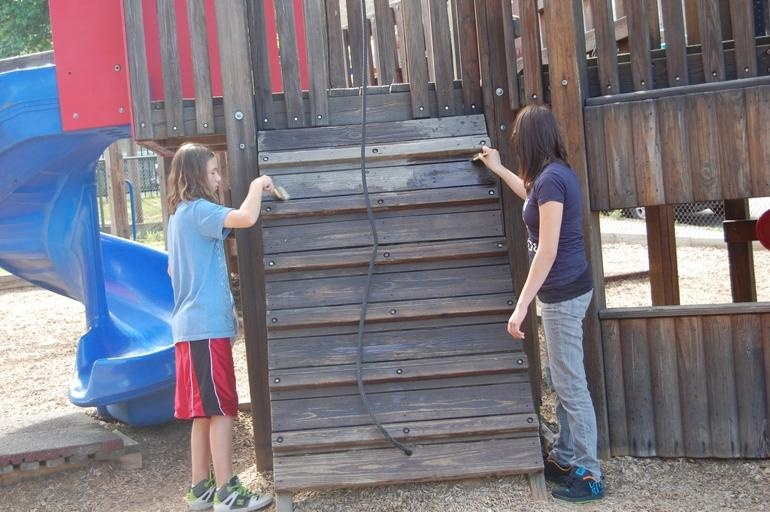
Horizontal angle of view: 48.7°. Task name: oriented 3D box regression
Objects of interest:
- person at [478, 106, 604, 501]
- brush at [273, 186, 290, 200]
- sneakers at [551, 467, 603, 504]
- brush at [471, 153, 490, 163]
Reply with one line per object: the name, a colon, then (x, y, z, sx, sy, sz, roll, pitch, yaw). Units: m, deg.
person: (1.032, 0.290, 5.384, 0.536, 2.424, 0.758, -3, 13, 13)
brush: (-0.682, -0.413, 5.604, 0.107, 0.098, 0.083, -9, 13, -13)
sneakers: (1.202, 1.459, 5.377, 0.332, 0.189, 0.165, 1, -1, 1)
brush: (0.625, -0.655, 5.673, 0.080, 0.027, 0.061, -35, 11, 49)
